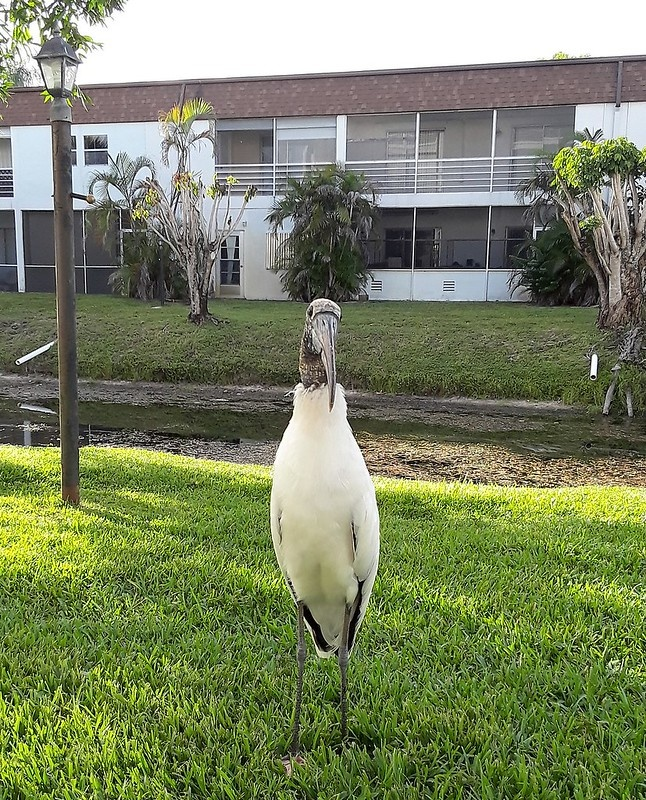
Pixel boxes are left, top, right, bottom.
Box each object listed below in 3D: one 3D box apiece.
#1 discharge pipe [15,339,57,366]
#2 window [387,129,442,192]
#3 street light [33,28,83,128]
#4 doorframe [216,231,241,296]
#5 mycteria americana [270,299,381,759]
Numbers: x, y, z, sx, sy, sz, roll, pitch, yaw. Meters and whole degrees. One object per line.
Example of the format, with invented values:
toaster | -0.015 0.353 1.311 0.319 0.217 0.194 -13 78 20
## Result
discharge pipe | -5.550 -0.914 16.139 0.165 0.154 1.247 -8 22 19
window | 2.978 -7.785 26.931 1.856 3.196 0.136 1 -34 8
street light | -1.680 -2.052 5.284 0.152 0.603 0.180 -1 2 8
doorframe | -3.043 -4.433 27.381 0.877 2.691 0.166 1 -29 -7
mycteria americana | -0.005 0.486 3.014 0.388 1.694 0.400 2 9 12
